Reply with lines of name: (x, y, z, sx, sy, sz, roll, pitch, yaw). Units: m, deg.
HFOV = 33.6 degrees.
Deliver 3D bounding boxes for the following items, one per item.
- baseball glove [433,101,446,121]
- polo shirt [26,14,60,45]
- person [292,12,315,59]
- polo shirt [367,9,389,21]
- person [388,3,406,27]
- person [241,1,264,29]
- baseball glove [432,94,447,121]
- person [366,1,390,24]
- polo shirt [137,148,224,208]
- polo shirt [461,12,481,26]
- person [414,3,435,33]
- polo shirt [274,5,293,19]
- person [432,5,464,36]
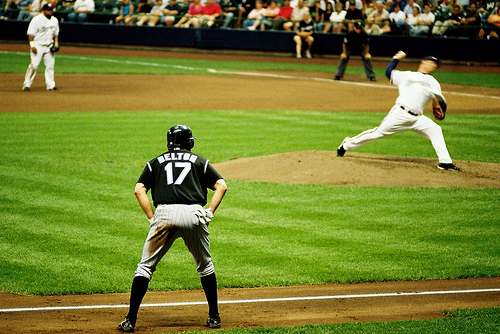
baseball glove: (4.666, -1.383, 20.388, 0.338, 0.419, 0.162, -15, -13, 14)
polo shirt: (-6.179, -4.148, 25.404, 1.181, 0.951, 0.516, 6, -1, 0)
person: (2.187, -5.372, 33.955, 0.902, 1.772, 1.247, 6, 7, 2)
polo shirt: (5.291, -6.307, 34.301, 0.506, 0.496, 0.857, -1, 9, -42)
person: (6.056, -6.275, 33.786, 0.587, 0.869, 1.033, 5, 7, -10)
person: (0.179, -6.311, 34.808, 0.561, 1.374, 0.593, 39, 13, 12)
baseball glove: (4.663, -1.455, 20.408, 0.212, 0.534, 0.424, 3, 4, 32)
person: (5.258, -6.391, 34.158, 0.929, 0.866, 0.895, 10, 8, 32)
polo shirt: (-1.324, 0.187, 15.618, 1.749, 1.078, 0.650, -3, 0, 9)
polo shirt: (8.837, -5.951, 33.185, 0.672, 0.587, 0.643, 3, 12, 19)
person: (7.024, -5.926, 33.283, 0.713, 1.160, 0.955, 8, 7, 13)
polo shirt: (1.486, -6.398, 34.286, 0.679, 0.542, 0.455, 11, 9, 41)
person: (7.990, -5.846, 33.037, 1.387, 1.319, 0.815, -1, 10, -42)
